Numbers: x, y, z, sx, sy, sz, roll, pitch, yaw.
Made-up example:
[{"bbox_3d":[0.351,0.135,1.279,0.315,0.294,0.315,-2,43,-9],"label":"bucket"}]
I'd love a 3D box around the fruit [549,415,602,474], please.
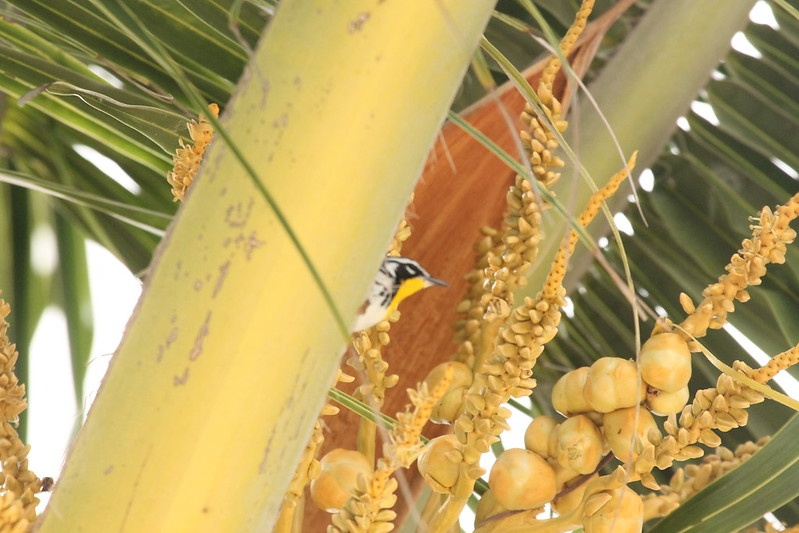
[{"bbox_3d":[0.189,0.188,1.440,0.056,0.054,0.033,-16,-30,-6],"label":"fruit"}]

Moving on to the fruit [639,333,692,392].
[{"bbox_3d":[0.288,0.110,1.448,0.055,0.076,0.060,-6,-16,20],"label":"fruit"}]

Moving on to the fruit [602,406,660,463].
[{"bbox_3d":[0.242,0.168,1.424,0.046,0.067,0.037,-3,-3,-5],"label":"fruit"}]

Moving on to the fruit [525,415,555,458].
[{"bbox_3d":[0.150,0.180,1.452,0.030,0.040,0.022,-41,-43,23],"label":"fruit"}]

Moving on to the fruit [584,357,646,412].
[{"bbox_3d":[0.227,0.122,1.434,0.055,0.055,0.051,-7,-6,30],"label":"fruit"}]

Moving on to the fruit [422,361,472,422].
[{"bbox_3d":[0.051,0.122,1.475,0.054,0.077,0.034,-8,-26,41],"label":"fruit"}]

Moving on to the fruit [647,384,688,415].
[{"bbox_3d":[0.282,0.142,1.437,0.034,0.020,0.033,22,-52,-36],"label":"fruit"}]
